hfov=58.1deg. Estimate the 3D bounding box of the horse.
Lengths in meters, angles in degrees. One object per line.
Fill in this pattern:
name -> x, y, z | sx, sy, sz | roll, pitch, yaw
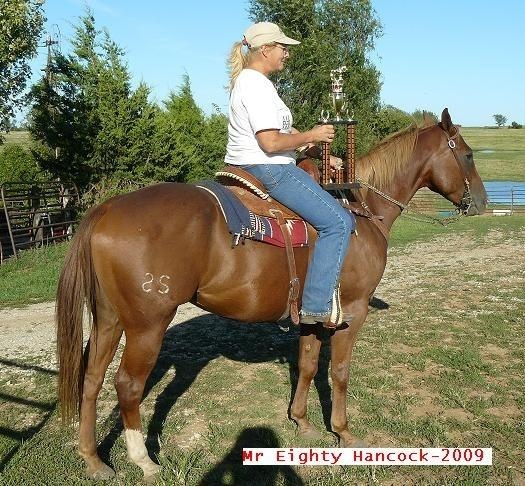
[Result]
horse -> 0.083, 0.371, 3.480 | 2.912, 2.351, 0.915 | -7, 13, -30
